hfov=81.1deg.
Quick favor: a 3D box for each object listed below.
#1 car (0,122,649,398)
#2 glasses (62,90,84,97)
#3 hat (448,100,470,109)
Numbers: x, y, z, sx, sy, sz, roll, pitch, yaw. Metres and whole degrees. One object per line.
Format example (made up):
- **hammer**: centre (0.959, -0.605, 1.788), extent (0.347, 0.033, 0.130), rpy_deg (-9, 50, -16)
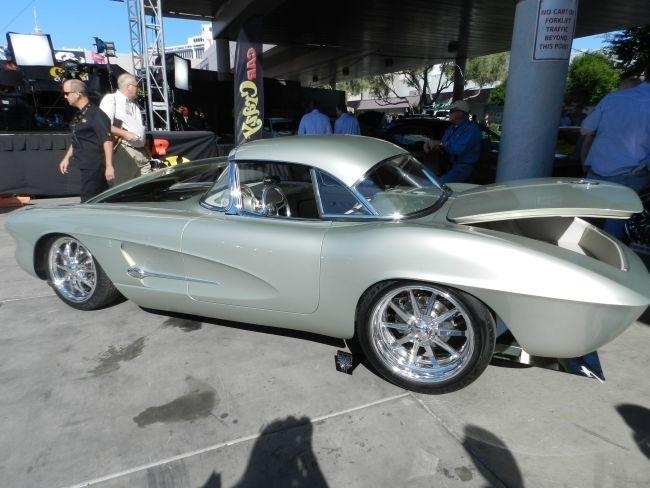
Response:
- **car**: centre (-0.252, -0.073, 3.011), extent (4.352, 1.101, 2.075), rpy_deg (7, 21, 18)
- **glasses**: centre (-2.942, -1.763, 4.484), extent (0.148, 0.041, 0.131), rpy_deg (-3, 23, -15)
- **hat**: centre (1.954, -2.051, 5.619), extent (0.235, 0.108, 0.165), rpy_deg (21, 23, 11)
